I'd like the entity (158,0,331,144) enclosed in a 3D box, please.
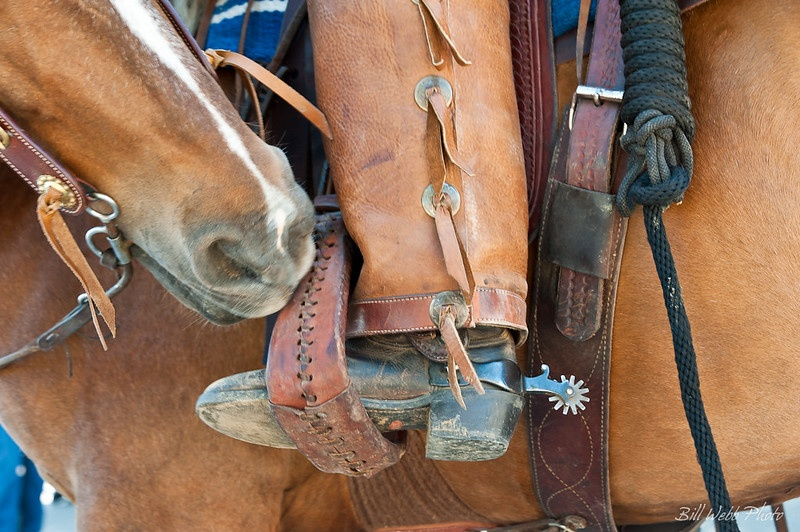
[{"bbox_3d":[-0.296,-0.359,2.144,0.434,0.078,0.049,43,27,8],"label":"entity"}]
